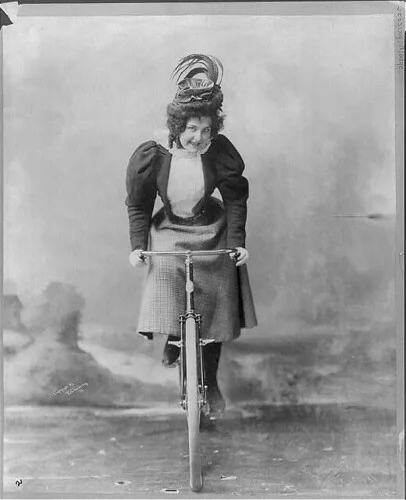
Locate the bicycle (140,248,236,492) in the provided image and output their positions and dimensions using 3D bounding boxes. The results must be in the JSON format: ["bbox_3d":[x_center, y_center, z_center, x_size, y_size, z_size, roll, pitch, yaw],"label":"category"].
[{"bbox_3d":[-0.060,0.552,4.813,0.442,1.119,0.112,-1,-2,0],"label":"bicycle"}]
